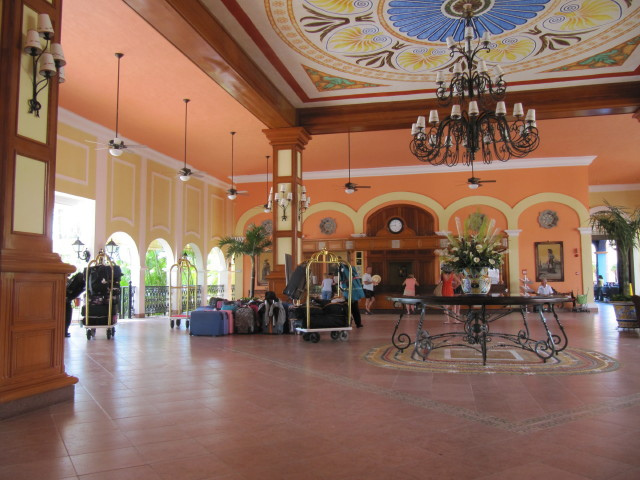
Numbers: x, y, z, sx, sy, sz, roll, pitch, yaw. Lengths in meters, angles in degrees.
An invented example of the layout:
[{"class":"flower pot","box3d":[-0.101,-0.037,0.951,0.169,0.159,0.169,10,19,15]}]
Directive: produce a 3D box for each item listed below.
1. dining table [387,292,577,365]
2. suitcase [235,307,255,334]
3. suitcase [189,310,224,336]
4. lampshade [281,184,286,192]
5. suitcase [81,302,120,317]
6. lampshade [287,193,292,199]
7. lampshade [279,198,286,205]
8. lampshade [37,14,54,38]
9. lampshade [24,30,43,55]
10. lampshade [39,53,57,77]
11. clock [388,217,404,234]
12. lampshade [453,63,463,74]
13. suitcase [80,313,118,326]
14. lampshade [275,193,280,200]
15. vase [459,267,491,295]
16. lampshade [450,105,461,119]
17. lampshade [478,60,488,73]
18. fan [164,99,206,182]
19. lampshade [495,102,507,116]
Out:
[{"class":"dining table","box3d":[2.371,1.281,7.001,2.417,0.728,2.333,-6,-4,33]},{"class":"suitcase","box3d":[-1.691,1.805,9.880,0.444,0.554,0.173,-1,-4,3]},{"class":"suitcase","box3d":[-2.401,1.748,9.418,0.638,0.400,0.598,-3,-6,21]},{"class":"lampshade","box3d":[-0.937,-1.317,11.275,0.180,0.168,0.171,0,-1,-16]},{"class":"suitcase","box3d":[-4.735,1.492,9.351,0.733,0.174,0.714,-1,-7,10]},{"class":"lampshade","box3d":[-0.765,-1.090,11.100,0.128,0.113,0.125,-3,-8,32]},{"class":"lampshade","box3d":[-0.929,-0.958,11.090,0.148,0.170,0.064,1,-4,-17]},{"class":"lampshade","box3d":[-2.751,-2.124,4.421,0.144,0.215,0.224,2,-5,-31]},{"class":"lampshade","box3d":[-2.788,-1.937,4.292,0.151,0.240,0.129,2,-5,-30]},{"class":"lampshade","box3d":[-2.708,-1.739,4.392,0.151,0.188,0.195,1,-5,-28]},{"class":"clock","box3d":[2.993,-0.545,17.371,0.612,0.671,0.277,-1,-4,5]},{"class":"lampshade","box3d":[2.100,-2.600,6.706,0.107,0.164,0.224,-2,-4,14]},{"class":"suitcase","box3d":[-4.641,1.683,9.301,0.667,0.130,0.620,-1,-7,4]},{"class":"lampshade","box3d":[-1.085,-1.089,11.163,0.171,0.150,0.160,2,-2,-33]},{"class":"vase","box3d":[2.402,0.661,6.974,0.492,0.378,0.439,2,-12,-6]},{"class":"lampshade","box3d":[2.173,-2.049,7.133,0.215,0.176,0.198,0,2,14]},{"class":"lampshade","box3d":[2.493,-2.645,6.767,0.118,0.164,0.273,-2,-5,17]},{"class":"fan","box3d":[-3.645,-2.713,12.171,1.211,2.175,1.181,16,29,8]},{"class":"lampshade","box3d":[2.957,-2.148,7.238,0.154,0.207,0.412,-2,-5,20]}]
